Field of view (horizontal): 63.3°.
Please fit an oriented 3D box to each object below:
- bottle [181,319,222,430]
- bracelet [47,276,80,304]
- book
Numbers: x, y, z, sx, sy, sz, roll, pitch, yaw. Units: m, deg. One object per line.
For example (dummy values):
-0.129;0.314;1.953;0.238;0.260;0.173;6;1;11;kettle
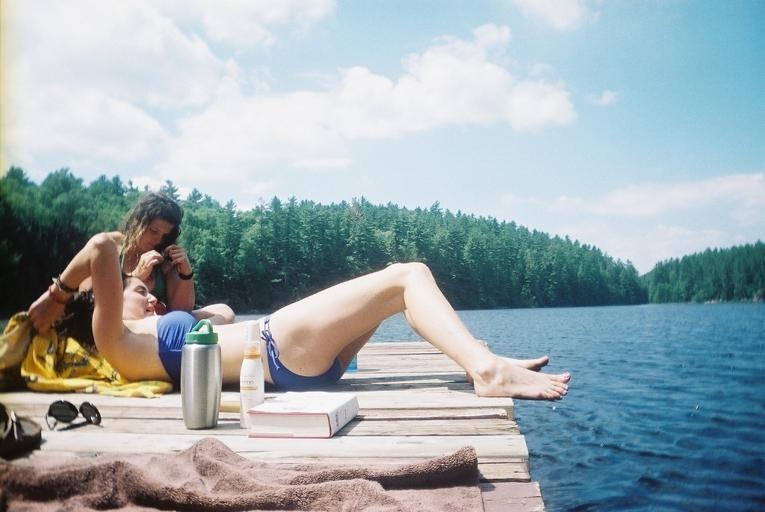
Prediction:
-1.206;0.789;4.110;0.247;0.714;0.196;-2;-4;-20;bottle
-2.395;0.268;4.637;0.180;0.116;0.212;2;-18;9;bracelet
-0.538;1.061;4.154;0.724;0.267;0.460;-4;-6;1;book
